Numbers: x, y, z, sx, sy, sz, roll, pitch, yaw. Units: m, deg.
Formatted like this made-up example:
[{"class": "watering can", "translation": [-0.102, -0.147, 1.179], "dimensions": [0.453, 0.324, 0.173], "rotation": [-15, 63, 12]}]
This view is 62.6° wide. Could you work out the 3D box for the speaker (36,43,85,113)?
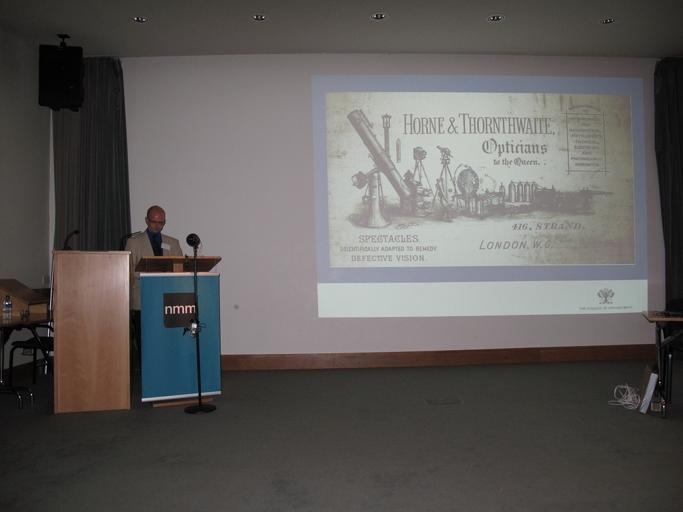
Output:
[{"class": "speaker", "translation": [-3.481, -2.258, 6.983], "dimensions": [0.525, 0.810, 0.161], "rotation": [-3, 3, -9]}]
